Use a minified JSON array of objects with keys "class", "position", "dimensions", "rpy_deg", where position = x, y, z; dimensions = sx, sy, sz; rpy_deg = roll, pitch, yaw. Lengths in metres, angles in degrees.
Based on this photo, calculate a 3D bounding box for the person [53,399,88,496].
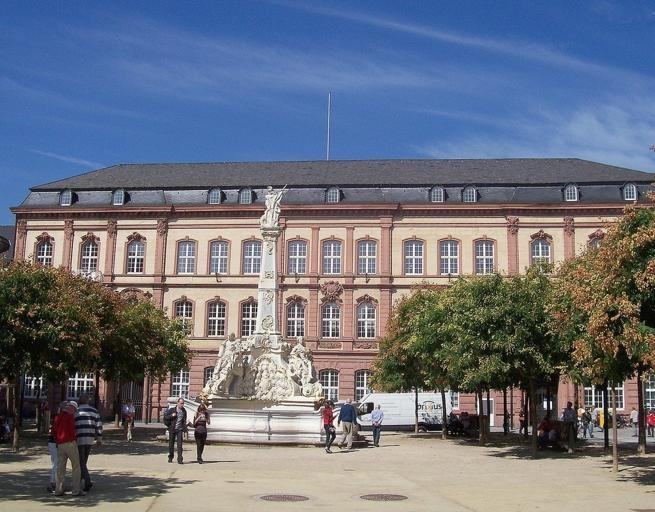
[{"class":"person","position":[-6.451,4.737,20.897],"dimensions":[0.812,2.234,0.450],"rpy_deg":[1,-13,-10]}]

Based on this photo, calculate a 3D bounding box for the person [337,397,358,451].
[{"class":"person","position":[0.774,6.635,33.413],"dimensions":[0.681,1.933,1.449],"rpy_deg":[-1,-12,0]}]

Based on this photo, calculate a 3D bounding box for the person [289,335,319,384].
[{"class":"person","position":[-1.088,4.627,37.321],"dimensions":[1.092,2.116,0.998],"rpy_deg":[-6,-13,21]}]

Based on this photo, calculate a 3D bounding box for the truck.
[{"class":"truck","position":[3.789,9.257,49.976],"dimensions":[6.396,2.293,2.218],"rpy_deg":[3,-5,-15]}]

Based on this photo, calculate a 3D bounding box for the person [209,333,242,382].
[{"class":"person","position":[-4.416,4.419,36.942],"dimensions":[1.279,2.053,1.017],"rpy_deg":[0,-13,-7]}]

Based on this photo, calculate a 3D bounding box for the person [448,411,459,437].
[{"class":"person","position":[7.006,9.143,46.332],"dimensions":[0.664,1.316,2.275],"rpy_deg":[-3,-12,7]}]

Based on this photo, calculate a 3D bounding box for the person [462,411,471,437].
[{"class":"person","position":[7.657,9.062,45.672],"dimensions":[0.595,0.948,0.251],"rpy_deg":[-5,-9,42]}]
